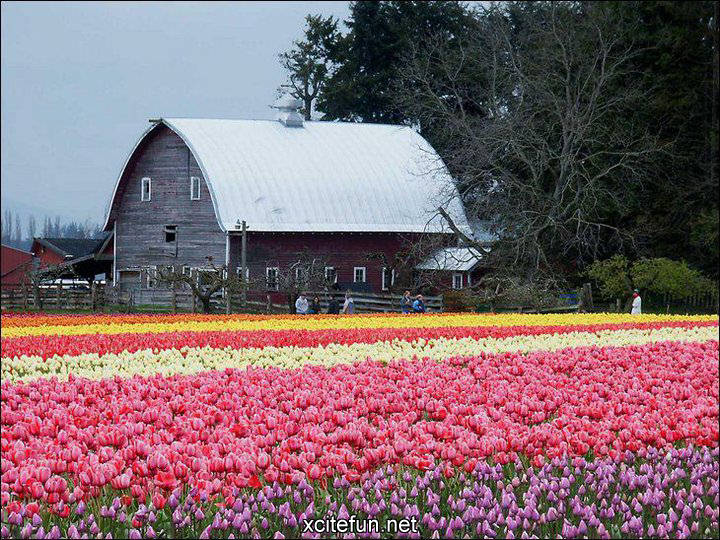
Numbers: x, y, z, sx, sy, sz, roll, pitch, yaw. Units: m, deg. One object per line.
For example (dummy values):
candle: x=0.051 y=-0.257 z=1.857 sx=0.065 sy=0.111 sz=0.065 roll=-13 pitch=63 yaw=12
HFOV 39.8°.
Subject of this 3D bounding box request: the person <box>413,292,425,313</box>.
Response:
person: x=1.969 y=1.037 z=33.309 sx=0.272 sy=0.918 sz=0.400 roll=-3 pitch=8 yaw=13
